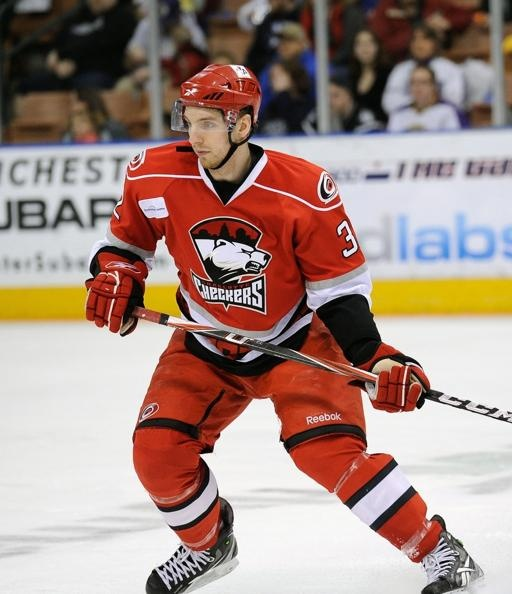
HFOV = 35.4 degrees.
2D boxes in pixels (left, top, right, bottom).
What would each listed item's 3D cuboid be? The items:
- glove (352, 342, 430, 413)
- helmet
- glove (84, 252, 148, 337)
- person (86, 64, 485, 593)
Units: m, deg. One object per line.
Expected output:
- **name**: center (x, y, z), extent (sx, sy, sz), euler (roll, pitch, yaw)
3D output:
- **glove**: center (0.317, 0.184, 1.713), extent (0.158, 0.068, 0.155), euler (36, -7, 28)
- **helmet**: center (-0.085, -0.482, 1.906), extent (0.214, 0.154, 0.153), euler (-5, 11, -35)
- **glove**: center (-0.358, 0.001, 2.063), extent (0.208, 0.190, 0.102), euler (11, -14, -19)
- **person**: center (0.010, 0.067, 1.867), extent (0.979, 1.233, 0.460), euler (-1, 9, 13)
